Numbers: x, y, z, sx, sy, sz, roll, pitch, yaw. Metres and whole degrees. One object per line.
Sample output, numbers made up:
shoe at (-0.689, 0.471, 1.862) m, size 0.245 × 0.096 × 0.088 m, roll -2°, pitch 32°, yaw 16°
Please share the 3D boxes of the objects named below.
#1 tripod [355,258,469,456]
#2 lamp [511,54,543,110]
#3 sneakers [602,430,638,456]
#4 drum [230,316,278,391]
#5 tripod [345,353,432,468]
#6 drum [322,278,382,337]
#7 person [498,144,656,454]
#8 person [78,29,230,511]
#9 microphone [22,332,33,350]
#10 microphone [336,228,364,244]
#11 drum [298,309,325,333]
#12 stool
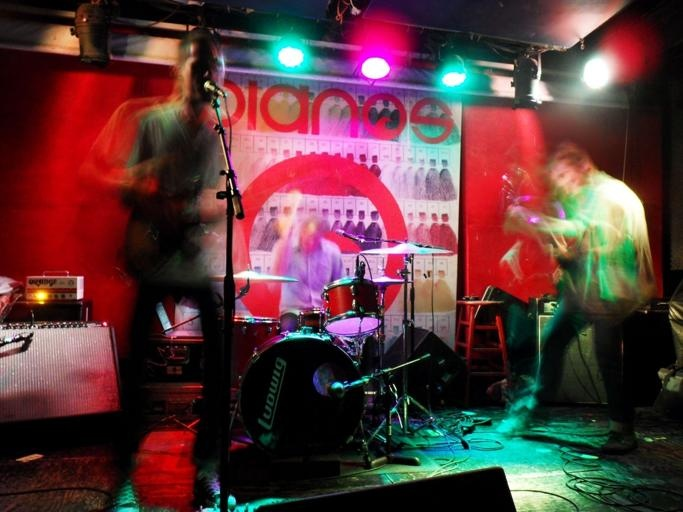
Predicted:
tripod at (0.669, 0.935, 6.645) m, size 1.419 × 2.353 × 1.726 m, roll -1°, pitch -6°, yaw 6°
lamp at (2.167, -2.078, 7.532) m, size 0.341 × 0.621 × 0.289 m, roll 2°, pitch -4°, yaw -5°
sneakers at (2.397, 1.622, 5.526) m, size 0.390 × 0.265 × 0.140 m, roll 1°, pitch -13°, yaw -3°
drum at (-0.673, 0.925, 6.192) m, size 0.623 × 0.611 × 0.635 m, roll -1°, pitch -4°, yaw 27°
tripod at (0.334, 1.326, 5.798) m, size 0.994 × 0.964 × 0.660 m, roll -4°, pitch 5°, yaw -45°
drum at (0.091, 0.460, 5.670) m, size 0.501 × 0.516 × 0.449 m, roll 1°, pitch -4°, yaw 3°
person at (2.256, 0.373, 5.769) m, size 0.900 × 2.661 × 0.453 m, roll 0°, pitch -5°, yaw 25°
person at (-1.330, -0.149, 4.970) m, size 0.991 × 3.087 × 0.571 m, roll 0°, pitch -5°, yaw 23°
microphone at (-2.732, 0.755, 5.576) m, size 0.030 × 0.125 × 0.086 m, roll 4°, pitch -22°, yaw 46°
microphone at (0.059, -0.217, 6.385) m, size 0.114 × 0.109 × 0.536 m, roll 39°, pitch -7°, yaw -22°
drum at (-0.273, 0.586, 5.756) m, size 0.193 × 0.131 × 0.188 m, roll 1°, pitch 2°, yaw 0°
stool at (1.568, 0.972, 7.164) m, size 0.646 × 0.910 × 0.716 m, roll -1°, pitch -2°, yaw 41°
